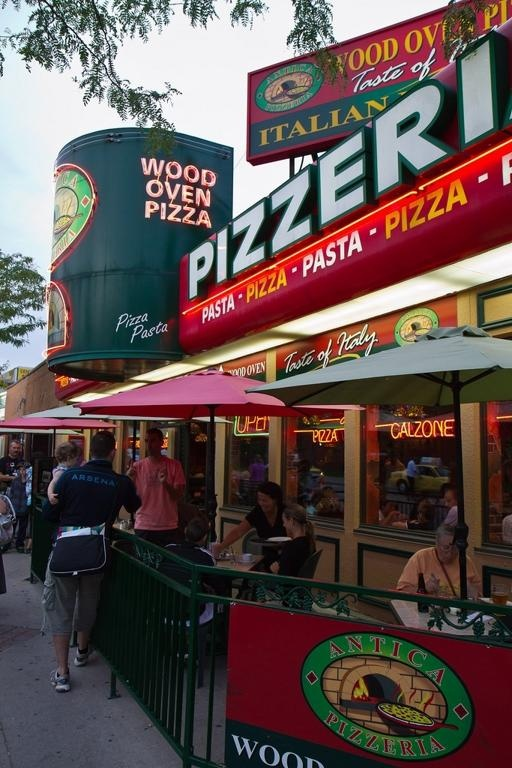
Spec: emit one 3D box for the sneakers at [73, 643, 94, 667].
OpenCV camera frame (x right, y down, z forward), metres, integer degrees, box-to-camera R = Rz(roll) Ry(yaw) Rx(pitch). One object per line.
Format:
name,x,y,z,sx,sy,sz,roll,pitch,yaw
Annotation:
sneakers,-1.354,2.120,5.058,0.092,0.111,0.257,0,1,1

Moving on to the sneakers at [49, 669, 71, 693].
sneakers,-1.355,2.058,4.448,0.073,0.095,0.203,3,-11,-19
